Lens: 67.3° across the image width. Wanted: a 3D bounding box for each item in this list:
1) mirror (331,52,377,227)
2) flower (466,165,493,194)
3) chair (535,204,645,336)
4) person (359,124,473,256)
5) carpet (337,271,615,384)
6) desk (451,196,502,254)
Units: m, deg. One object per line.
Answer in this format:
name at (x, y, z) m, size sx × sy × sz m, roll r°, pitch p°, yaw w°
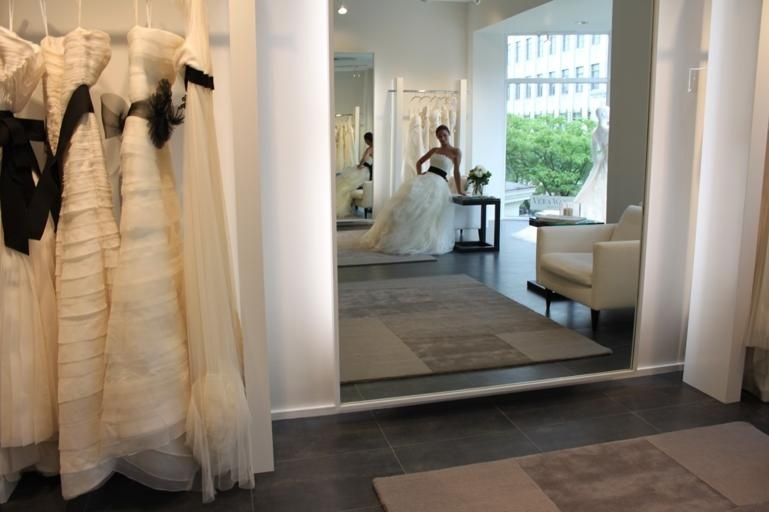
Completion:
mirror at (-0.210, -0.848, 4.079) m, size 0.227 × 1.133 × 0.501 m, roll 3°, pitch 14°, yaw 15°
flower at (0.950, -0.763, 5.986) m, size 0.314 × 0.318 × 0.277 m, roll 1°, pitch 1°, yaw -1°
chair at (1.919, 0.019, 4.882) m, size 1.113 × 0.871 × 1.094 m, roll 4°, pitch 11°, yaw 6°
person at (0.250, -0.606, 5.075) m, size 0.898 × 1.137 × 0.583 m, roll -5°, pitch 12°, yaw -29°
carpet at (0.434, 0.520, 4.616) m, size 1.778 × 0.017 × 1.967 m, roll -3°, pitch 13°, yaw -11°
desk at (0.764, -0.321, 6.181) m, size 0.465 × 0.580 × 0.879 m, roll -1°, pitch -1°, yaw -36°
